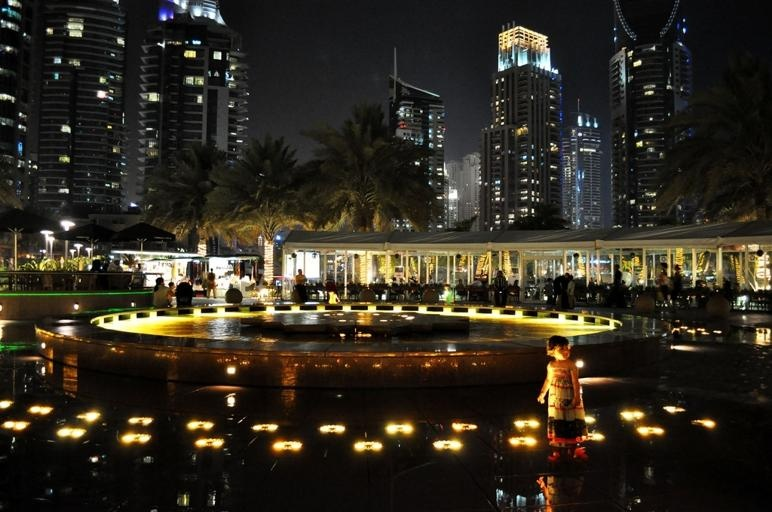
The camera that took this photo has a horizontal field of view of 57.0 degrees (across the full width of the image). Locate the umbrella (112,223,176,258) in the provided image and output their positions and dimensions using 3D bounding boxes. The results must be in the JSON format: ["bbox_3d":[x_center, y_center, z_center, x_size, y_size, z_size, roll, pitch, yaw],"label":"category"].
[{"bbox_3d":[-10.824,-0.961,31.776,2.312,0.806,1.738,-4,13,-20],"label":"umbrella"}]

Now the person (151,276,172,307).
[{"bbox_3d":[-8.619,1.404,27.377,0.506,1.350,1.297,-3,12,-12],"label":"person"}]

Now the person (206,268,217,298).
[{"bbox_3d":[-9.332,1.631,38.053,0.468,1.251,1.746,-4,13,-15],"label":"person"}]

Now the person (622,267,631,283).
[{"bbox_3d":[12.269,1.057,36.268,0.329,0.866,0.787,2,12,8],"label":"person"}]

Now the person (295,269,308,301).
[{"bbox_3d":[-3.436,1.360,28.657,0.395,1.163,1.247,-2,12,-8],"label":"person"}]
